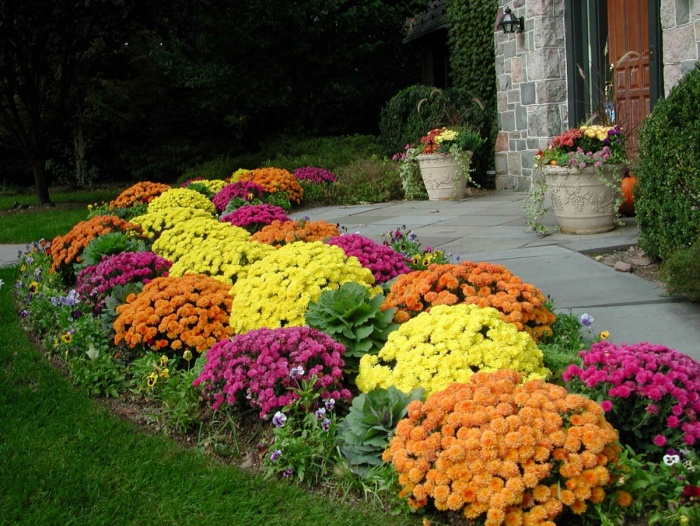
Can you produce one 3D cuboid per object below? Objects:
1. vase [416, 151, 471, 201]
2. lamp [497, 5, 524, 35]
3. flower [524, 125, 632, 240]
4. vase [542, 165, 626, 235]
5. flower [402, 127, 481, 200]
[{"bbox_3d":[1.589,-1.446,10.077,0.725,0.659,0.761,-4,4,-19],"label":"vase"},{"bbox_3d":[2.624,-3.944,9.979,0.425,0.649,0.395,-4,9,-13],"label":"lamp"},{"bbox_3d":[2.439,-0.899,6.473,0.985,1.216,1.074,3,10,23],"label":"flower"},{"bbox_3d":[2.379,-0.664,6.205,0.641,0.588,0.698,-2,4,-4],"label":"vase"},{"bbox_3d":[1.662,-1.662,10.302,1.108,1.042,1.031,3,9,42],"label":"flower"}]
